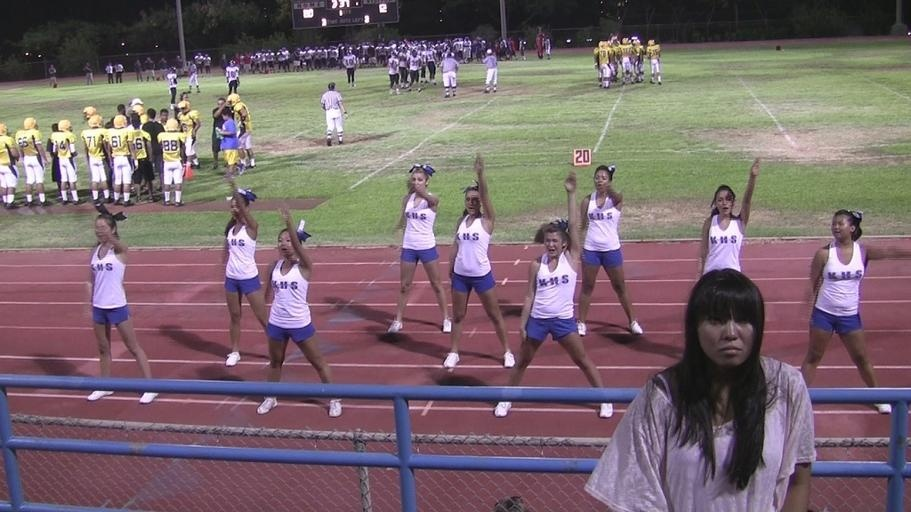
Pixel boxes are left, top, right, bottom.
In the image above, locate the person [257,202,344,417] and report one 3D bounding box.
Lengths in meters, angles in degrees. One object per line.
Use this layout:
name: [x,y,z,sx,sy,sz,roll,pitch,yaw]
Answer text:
person: [-3.180,0.795,18.477,1.176,3.517,0.984,-5,12,-2]
